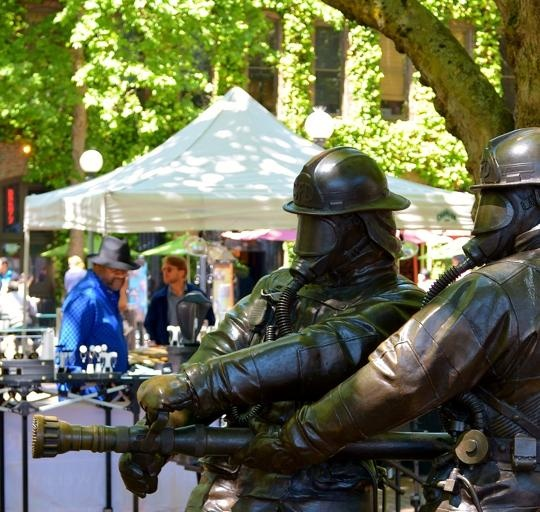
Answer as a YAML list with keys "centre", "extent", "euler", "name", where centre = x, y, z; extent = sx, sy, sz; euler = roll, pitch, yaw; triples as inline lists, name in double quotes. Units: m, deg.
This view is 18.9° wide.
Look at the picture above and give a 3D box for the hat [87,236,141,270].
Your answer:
- centre: [-1.258, -0.006, 13.147]
  extent: [0.306, 0.133, 0.333]
  euler: [15, -4, 21]
  name: "hat"
